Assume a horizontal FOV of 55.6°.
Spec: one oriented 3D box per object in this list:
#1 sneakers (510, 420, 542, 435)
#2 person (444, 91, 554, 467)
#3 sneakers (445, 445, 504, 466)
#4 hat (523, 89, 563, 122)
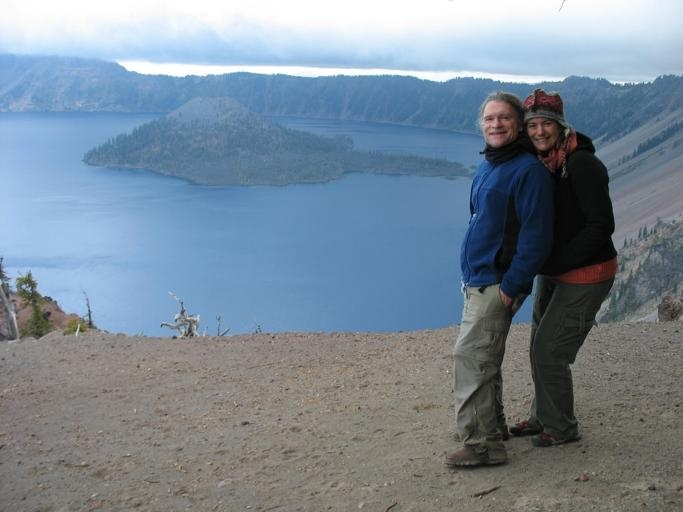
[{"bbox_3d":[2.034,1.982,7.542,0.390,0.181,0.143,0,-2,7],"label":"sneakers"},{"bbox_3d":[1.599,0.248,6.903,1.227,3.885,0.722,-7,11,3],"label":"person"},{"bbox_3d":[1.395,2.142,7.057,0.553,0.274,0.235,2,8,4],"label":"sneakers"},{"bbox_3d":[2.006,-1.560,6.775,0.293,0.294,0.397,6,8,31],"label":"hat"}]
